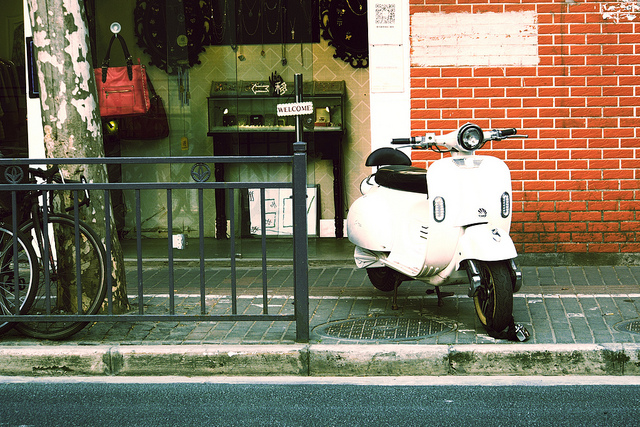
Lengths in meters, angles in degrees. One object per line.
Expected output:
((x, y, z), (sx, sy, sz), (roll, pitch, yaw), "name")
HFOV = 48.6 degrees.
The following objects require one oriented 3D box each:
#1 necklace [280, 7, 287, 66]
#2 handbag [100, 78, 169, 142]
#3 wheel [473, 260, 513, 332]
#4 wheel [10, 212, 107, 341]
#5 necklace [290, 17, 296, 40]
((-0.549, -2.644, 10.597), (0.089, 0.875, 0.146), (-1, 5, -6), "necklace")
((-2.792, -1.620, 10.780), (1.149, 1.052, 0.443), (-6, 12, 7), "handbag")
((1.677, 0.779, 6.850), (0.371, 0.634, 0.403), (0, -3, 0), "wheel")
((-2.650, 0.663, 7.235), (1.214, 1.221, 0.183), (7, -3, 21), "wheel")
((-0.407, -2.739, 10.640), (0.064, 0.257, 0.037), (-3, 5, -24), "necklace")
